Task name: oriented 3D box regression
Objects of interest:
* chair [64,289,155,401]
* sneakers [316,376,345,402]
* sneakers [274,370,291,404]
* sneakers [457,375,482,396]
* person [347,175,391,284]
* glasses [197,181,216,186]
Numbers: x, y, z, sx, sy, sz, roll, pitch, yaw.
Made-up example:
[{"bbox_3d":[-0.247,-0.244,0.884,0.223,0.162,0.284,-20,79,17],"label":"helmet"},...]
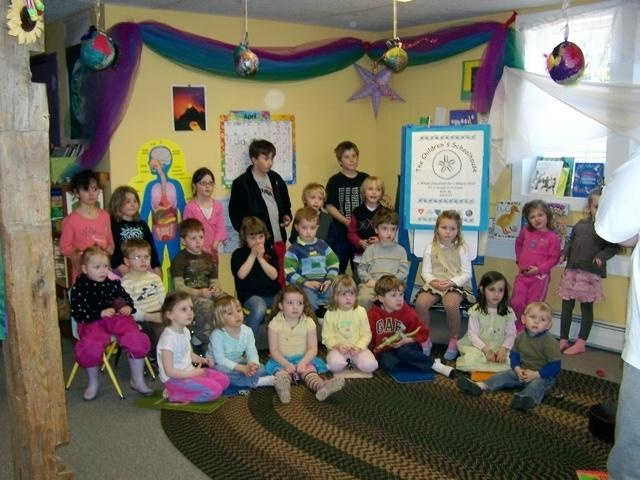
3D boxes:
[{"bbox_3d":[-1.467,0.574,3.647,0.499,1.031,0.420,-6,15,-22],"label":"chair"},{"bbox_3d":[0.071,1.008,3.571,0.225,0.111,0.111,-34,0,-9],"label":"sneakers"},{"bbox_3d":[-0.253,1.010,3.541,0.103,0.190,0.075,0,-32,-41],"label":"sneakers"},{"bbox_3d":[1.040,1.027,3.607,0.158,0.087,0.067,34,16,31],"label":"sneakers"},{"bbox_3d":[0.501,0.082,5.020,0.443,1.394,0.421,-3,19,-2],"label":"person"},{"bbox_3d":[-1.040,-0.531,4.759,0.140,0.061,0.041,-8,16,-29],"label":"glasses"}]
